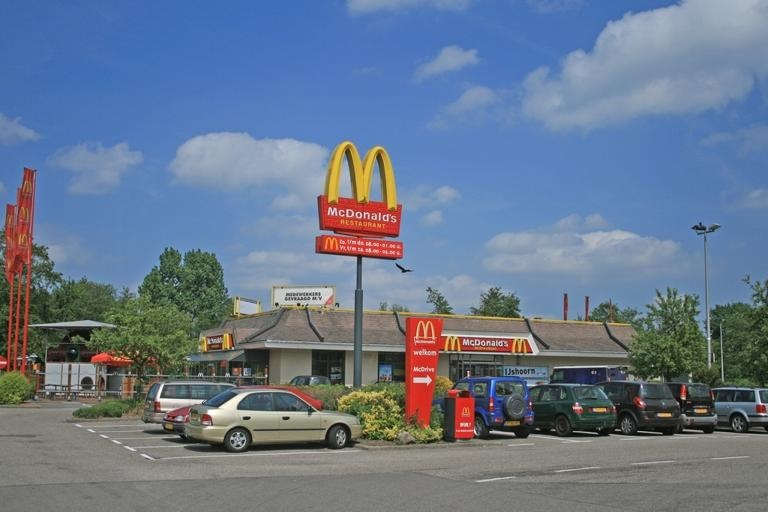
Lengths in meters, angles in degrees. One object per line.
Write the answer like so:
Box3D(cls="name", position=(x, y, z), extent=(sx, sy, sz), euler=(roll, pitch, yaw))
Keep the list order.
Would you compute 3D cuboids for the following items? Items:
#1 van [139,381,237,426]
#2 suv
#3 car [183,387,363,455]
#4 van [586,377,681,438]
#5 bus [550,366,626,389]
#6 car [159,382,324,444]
Box3D(cls="van", position=(-9.048, 6.495, 39.992), extent=(4.635, 1.806, 2.170), euler=(4, -10, -23))
Box3D(cls="suv", position=(4.548, 6.478, 38.867), extent=(2.277, 2.380, 5.382), euler=(3, -6, -31))
Box3D(cls="car", position=(-4.161, 6.096, 33.912), extent=(5.669, 2.403, 0.717), euler=(3, -15, -16))
Box3D(cls="van", position=(11.264, 6.865, 41.996), extent=(2.167, 1.599, 3.533), euler=(2, 0, -25))
Box3D(cls="bus", position=(11.852, 7.124, 54.092), extent=(4.048, 2.078, 2.475), euler=(-5, -6, 29))
Box3D(cls="car", position=(-5.396, 6.529, 36.752), extent=(6.424, 2.054, 2.951), euler=(-2, 1, -19))
